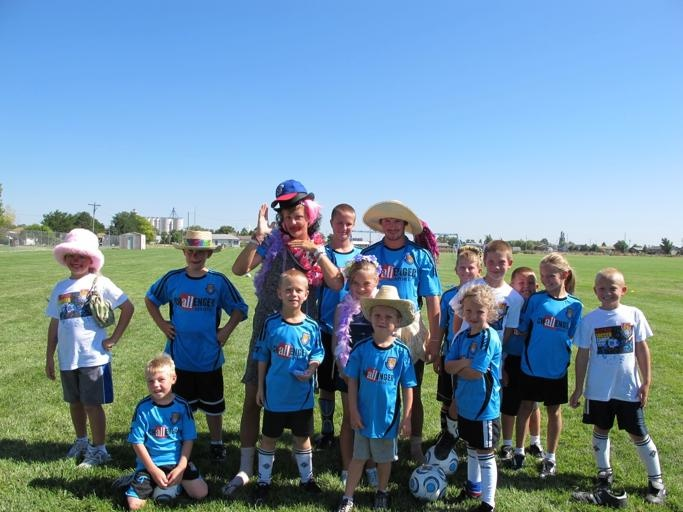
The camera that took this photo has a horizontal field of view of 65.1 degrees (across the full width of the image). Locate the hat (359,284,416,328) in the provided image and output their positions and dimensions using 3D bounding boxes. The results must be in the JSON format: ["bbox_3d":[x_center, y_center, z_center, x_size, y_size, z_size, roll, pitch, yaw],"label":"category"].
[{"bbox_3d":[0.541,0.574,6.094,0.622,0.465,0.343,3,5,3],"label":"hat"}]

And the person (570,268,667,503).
[{"bbox_3d":[3.240,1.455,6.195,1.019,2.545,0.973,6,6,33],"label":"person"}]

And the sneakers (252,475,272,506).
[{"bbox_3d":[-0.878,2.616,5.950,0.145,0.192,0.426,2,-12,-4],"label":"sneakers"}]

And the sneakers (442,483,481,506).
[{"bbox_3d":[1.317,2.707,6.073,0.486,0.252,0.176,2,-11,1],"label":"sneakers"}]

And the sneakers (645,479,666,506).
[{"bbox_3d":[3.544,2.653,6.019,0.204,0.184,0.263,6,7,34],"label":"sneakers"}]

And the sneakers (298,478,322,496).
[{"bbox_3d":[-0.367,2.610,6.068,0.288,0.132,0.148,5,6,22],"label":"sneakers"}]

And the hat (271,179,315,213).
[{"bbox_3d":[-0.559,-0.705,6.390,0.496,0.379,0.573,1,6,-11],"label":"hat"}]

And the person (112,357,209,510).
[{"bbox_3d":[-1.936,1.911,5.905,0.810,1.525,0.516,0,6,-23],"label":"person"}]

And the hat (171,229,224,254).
[{"bbox_3d":[-1.792,-0.177,6.787,0.411,0.183,0.483,2,-3,-3],"label":"hat"}]

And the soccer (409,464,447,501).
[{"bbox_3d":[0.976,2.538,6.126,0.319,0.354,0.392,0,19,10],"label":"soccer"}]

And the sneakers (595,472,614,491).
[{"bbox_3d":[3.042,2.616,6.192,0.141,0.188,0.222,-5,-20,33],"label":"sneakers"}]

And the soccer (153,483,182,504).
[{"bbox_3d":[-1.904,2.587,5.848,0.293,0.164,0.106,0,6,-21],"label":"soccer"}]

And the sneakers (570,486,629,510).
[{"bbox_3d":[2.887,2.664,6.067,0.622,0.257,0.234,3,-8,14],"label":"sneakers"}]

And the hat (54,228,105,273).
[{"bbox_3d":[-3.221,-0.108,6.616,0.489,0.349,0.541,3,-18,-5],"label":"hat"}]
